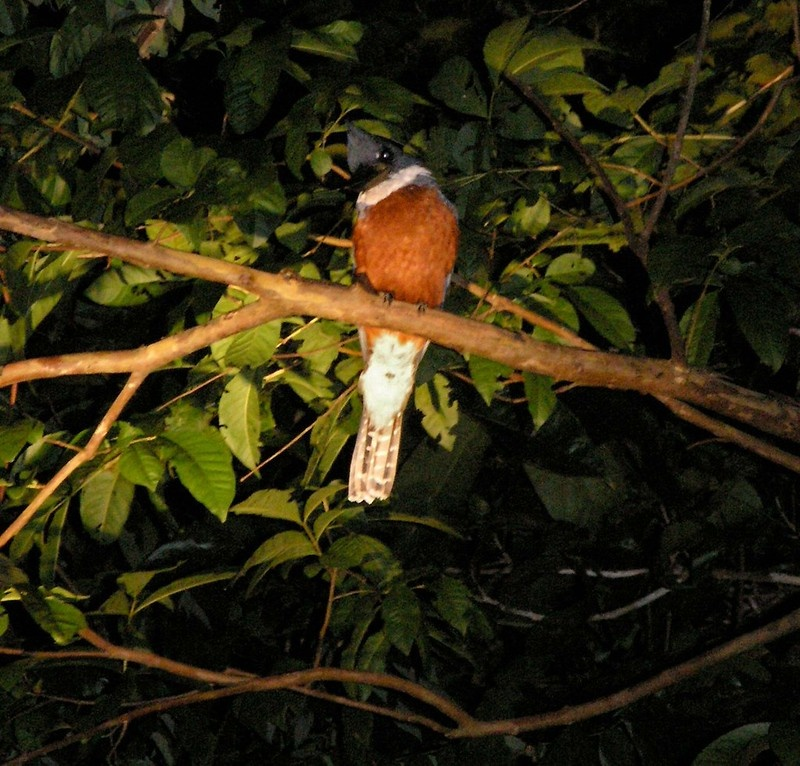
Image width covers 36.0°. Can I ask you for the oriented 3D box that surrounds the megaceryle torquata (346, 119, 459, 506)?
[{"bbox_3d":[-0.052,-0.303,5.346,0.509,1.613,0.673,1,21,-11],"label":"megaceryle torquata"}]
